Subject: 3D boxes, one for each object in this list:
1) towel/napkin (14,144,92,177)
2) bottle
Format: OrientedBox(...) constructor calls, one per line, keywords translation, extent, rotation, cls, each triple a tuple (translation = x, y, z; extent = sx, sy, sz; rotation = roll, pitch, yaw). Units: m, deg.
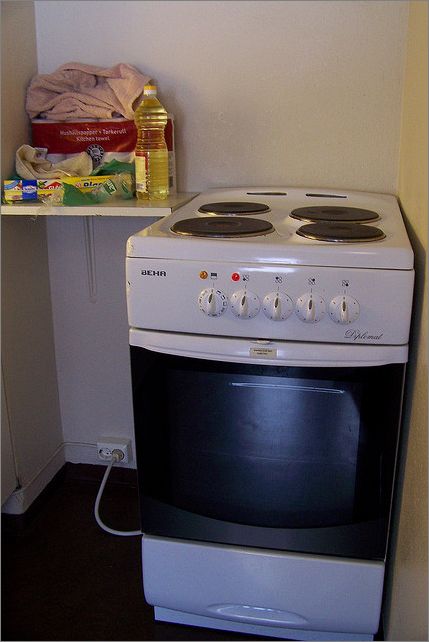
OrientedBox(translation=(-0.424, -0.402, 1.392), extent=(0.155, 0.052, 0.119), rotation=(-1, 35, -10), cls="towel/napkin")
OrientedBox(translation=(-0.152, -0.433, 1.304), extent=(0.085, 0.259, 0.221), rotation=(-2, 20, -6), cls="bottle")
